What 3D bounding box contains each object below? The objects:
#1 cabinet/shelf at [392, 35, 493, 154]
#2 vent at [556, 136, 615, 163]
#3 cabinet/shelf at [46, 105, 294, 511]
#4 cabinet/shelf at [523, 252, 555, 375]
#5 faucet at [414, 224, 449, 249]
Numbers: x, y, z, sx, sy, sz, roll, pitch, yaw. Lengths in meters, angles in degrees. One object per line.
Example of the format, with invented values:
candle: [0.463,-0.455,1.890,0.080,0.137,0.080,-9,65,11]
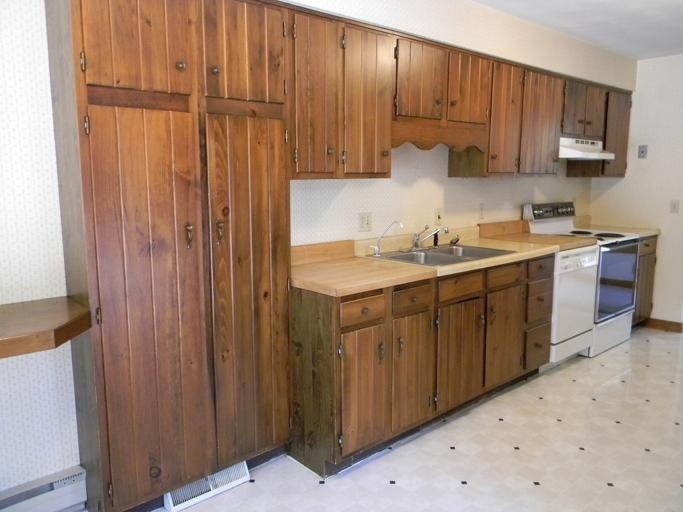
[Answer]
cabinet/shelf: [0.698,-1.179,3.888,0.858,0.592,0.298,-8,11,-44]
vent: [2.225,-0.994,5.080,0.651,0.254,0.219,0,3,-35]
cabinet/shelf: [-0.945,0.252,3.021,1.052,2.096,0.469,-8,14,-31]
cabinet/shelf: [1.538,0.438,4.299,0.108,0.866,0.407,10,16,41]
faucet: [0.719,-0.167,4.348,0.409,0.174,0.134,-11,15,-43]
